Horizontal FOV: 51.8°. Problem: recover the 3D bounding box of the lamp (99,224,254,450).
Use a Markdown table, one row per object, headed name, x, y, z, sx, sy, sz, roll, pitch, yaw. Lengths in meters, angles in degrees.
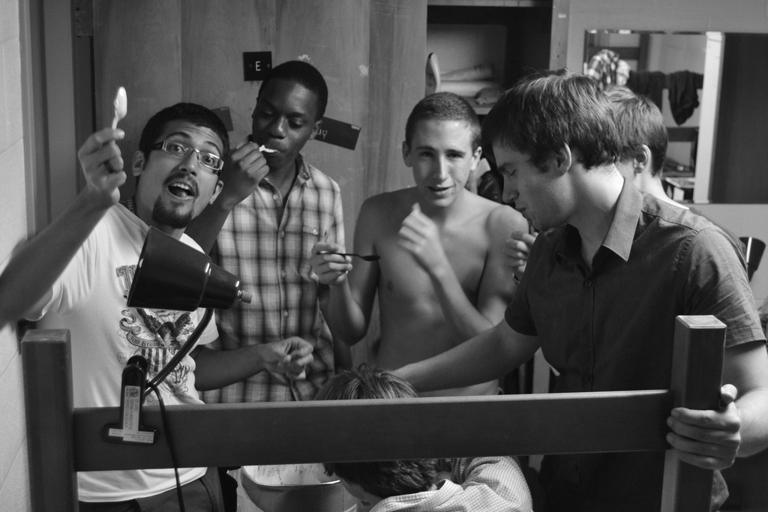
| name | x | y | z | sx | sy | sz | roll | pitch | yaw |
| --- | --- | --- | --- | --- | --- | --- | --- | --- | --- |
| lamp | -0.408 | 0.149 | 1.556 | 0.289 | 0.415 | 0.103 | -3 | 6 | -21 |
